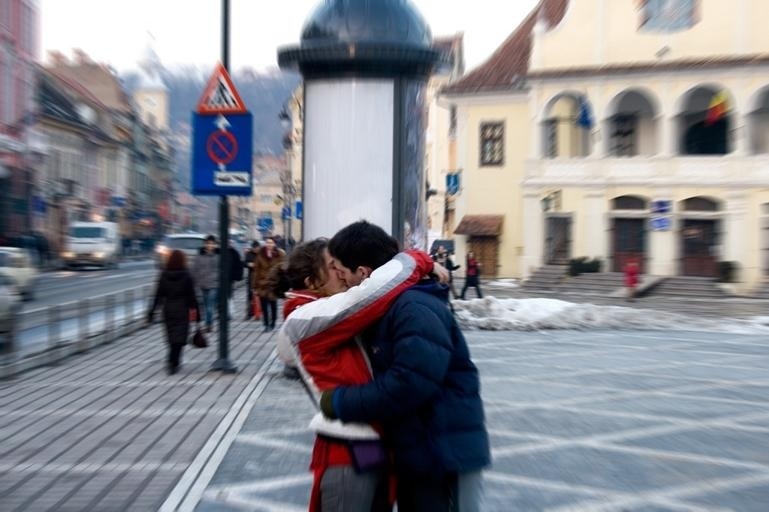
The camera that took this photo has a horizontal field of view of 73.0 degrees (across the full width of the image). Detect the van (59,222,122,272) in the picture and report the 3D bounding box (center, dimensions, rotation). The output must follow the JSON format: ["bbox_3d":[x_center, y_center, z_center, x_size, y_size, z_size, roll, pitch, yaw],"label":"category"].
[{"bbox_3d":[-20.207,-0.761,35.597,2.271,2.690,4.560,0,-5,-10],"label":"van"}]

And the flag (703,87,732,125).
[{"bbox_3d":[18.516,-7.990,28.711,1.262,2.254,0.528,16,-10,27],"label":"flag"}]
